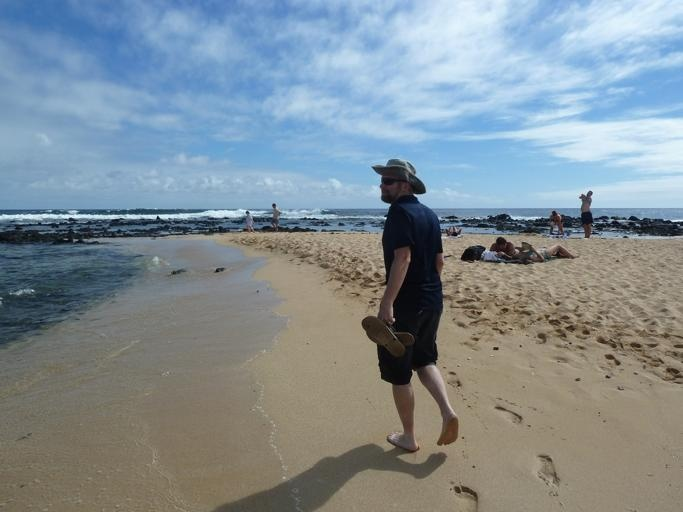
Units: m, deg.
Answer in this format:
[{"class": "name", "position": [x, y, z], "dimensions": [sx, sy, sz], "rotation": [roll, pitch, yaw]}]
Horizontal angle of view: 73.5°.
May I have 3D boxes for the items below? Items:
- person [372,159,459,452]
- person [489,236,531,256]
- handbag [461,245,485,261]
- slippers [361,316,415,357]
[{"class": "person", "position": [0.746, 0.512, 4.616], "dimensions": [0.803, 2.932, 0.898], "rotation": [-1, 14, 5]}, {"class": "person", "position": [4.558, -0.243, 12.459], "dimensions": [0.806, 0.290, 0.536], "rotation": [17, 29, 31]}, {"class": "handbag", "position": [3.686, -0.071, 12.686], "dimensions": [0.687, 0.327, 0.590], "rotation": [-5, 13, -14]}, {"class": "slippers", "position": [0.425, 0.726, 4.527], "dimensions": [0.580, 0.290, 0.173], "rotation": [34, 10, 1]}]
